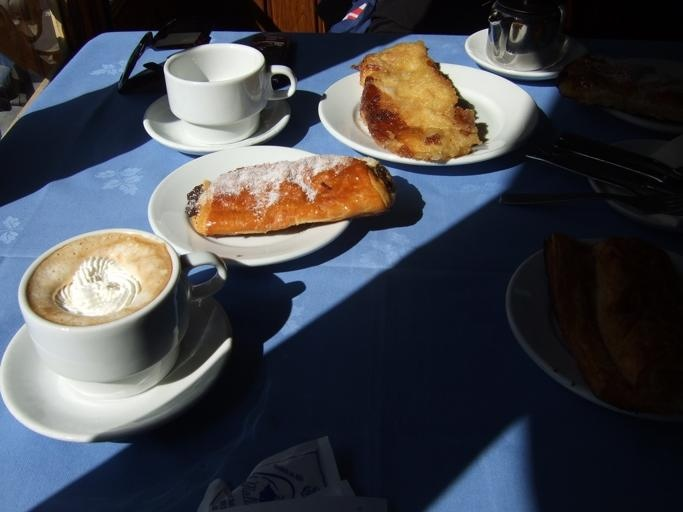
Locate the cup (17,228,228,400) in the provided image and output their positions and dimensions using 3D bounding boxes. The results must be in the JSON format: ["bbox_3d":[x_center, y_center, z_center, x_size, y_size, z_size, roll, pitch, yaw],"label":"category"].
[{"bbox_3d":[-0.246,0.069,0.619,0.202,0.139,0.174,-9,40,-15],"label":"cup"}]

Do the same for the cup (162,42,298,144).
[{"bbox_3d":[-0.197,-0.291,0.965,0.219,0.130,0.188,0,39,0],"label":"cup"}]

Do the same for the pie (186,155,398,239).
[{"bbox_3d":[-0.073,-0.098,0.776,0.240,0.067,0.142,-9,34,1],"label":"pie"}]
